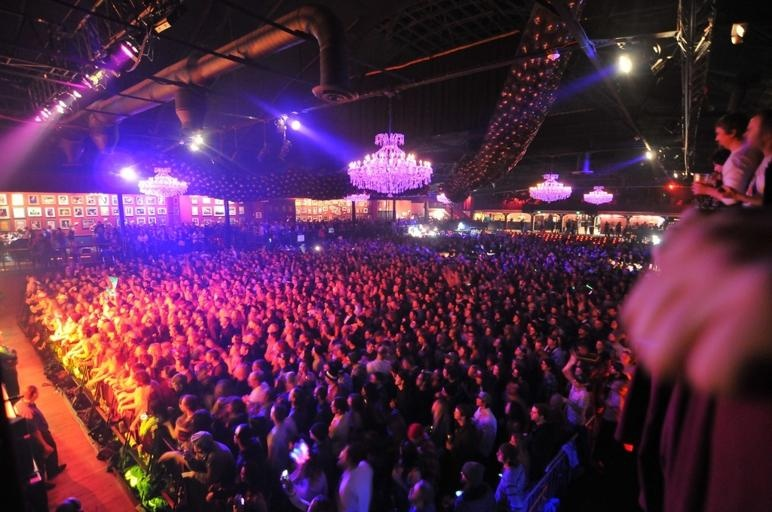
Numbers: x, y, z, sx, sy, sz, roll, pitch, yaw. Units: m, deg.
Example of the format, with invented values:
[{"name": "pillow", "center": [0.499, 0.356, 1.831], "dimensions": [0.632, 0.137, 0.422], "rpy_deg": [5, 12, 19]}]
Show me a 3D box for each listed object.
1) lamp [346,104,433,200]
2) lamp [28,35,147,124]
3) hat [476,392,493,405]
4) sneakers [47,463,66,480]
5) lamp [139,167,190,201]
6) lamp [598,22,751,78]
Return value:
[{"name": "lamp", "center": [0.135, -3.124, 17.209], "dimensions": [1.837, 2.431, 1.961], "rpy_deg": [-2, 7, -39]}, {"name": "lamp", "center": [-7.938, -4.767, 15.448], "dimensions": [5.812, 1.215, 0.816], "rpy_deg": [-15, -13, 38]}, {"name": "hat", "center": [1.909, 2.801, 11.334], "dimensions": [0.233, 0.259, 0.214], "rpy_deg": [-10, -20, 21]}, {"name": "sneakers", "center": [-6.844, 4.461, 12.114], "dimensions": [0.141, 0.262, 0.375], "rpy_deg": [10, 19, 7]}, {"name": "lamp", "center": [-8.233, -2.622, 21.456], "dimensions": [1.308, 0.973, 1.311], "rpy_deg": [-1, 8, -26]}, {"name": "lamp", "center": [6.026, -4.446, 12.036], "dimensions": [2.326, 0.928, 2.935], "rpy_deg": [7, 7, 38]}]
